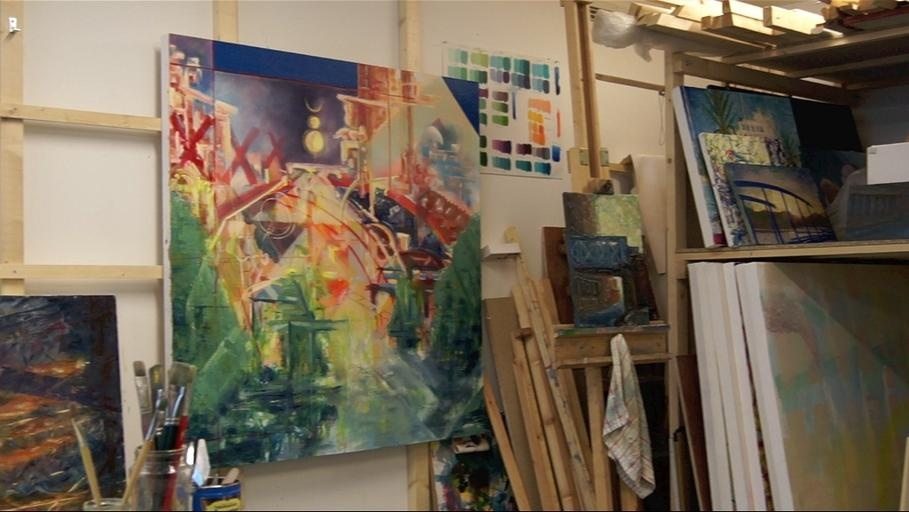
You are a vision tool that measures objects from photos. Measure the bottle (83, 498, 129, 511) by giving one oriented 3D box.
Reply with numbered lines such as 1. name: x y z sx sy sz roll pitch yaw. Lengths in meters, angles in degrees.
1. bottle: -1.565 1.118 3.609 0.159 0.043 0.202 -1 -6 -36

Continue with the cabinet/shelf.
1. cabinet/shelf: 1.838 -0.040 4.571 1.239 2.269 0.794 -7 -6 22
